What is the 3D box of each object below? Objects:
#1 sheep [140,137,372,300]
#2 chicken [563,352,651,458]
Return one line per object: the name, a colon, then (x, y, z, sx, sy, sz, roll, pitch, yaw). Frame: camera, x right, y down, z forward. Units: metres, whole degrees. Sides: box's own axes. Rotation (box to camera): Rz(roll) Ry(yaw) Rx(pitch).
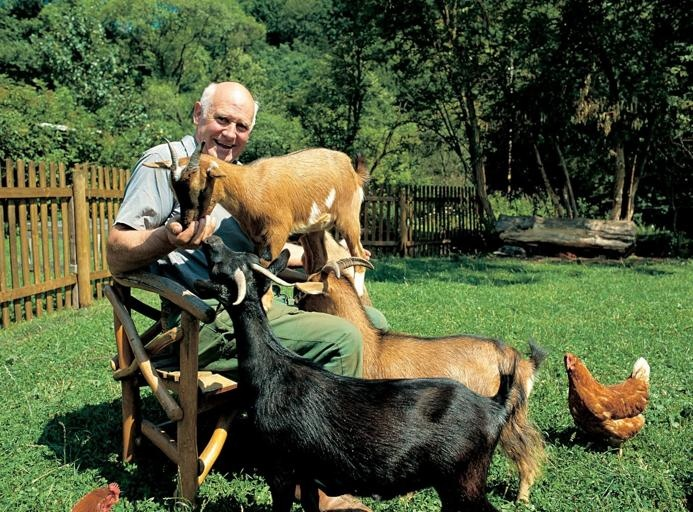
sheep: (-0.744, -0.297, 7.750, 2.395, 1.760, 0.712, -9, 16, -27)
chicken: (2.979, 1.614, 7.980, 1.003, 1.038, 0.467, -2, 6, -19)
